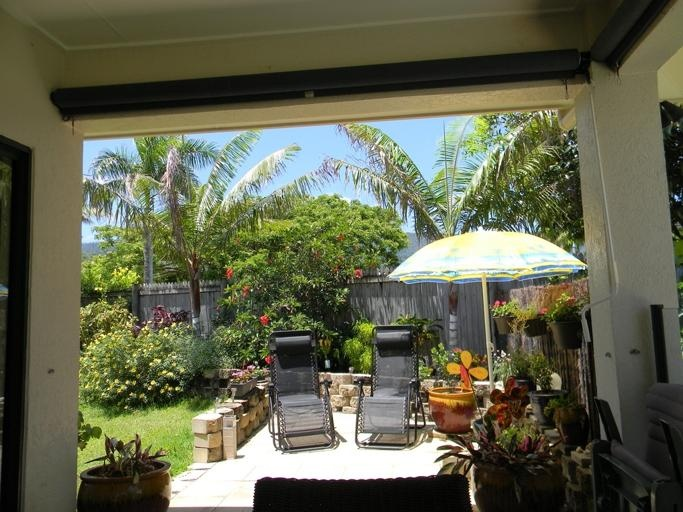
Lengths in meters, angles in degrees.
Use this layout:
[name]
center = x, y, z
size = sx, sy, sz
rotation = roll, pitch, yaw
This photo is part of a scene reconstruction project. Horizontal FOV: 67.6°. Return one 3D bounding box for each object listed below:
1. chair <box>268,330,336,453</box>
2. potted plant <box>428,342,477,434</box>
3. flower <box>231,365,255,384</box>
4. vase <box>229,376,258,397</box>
[chair]
center = -0.549, 1.746, 6.906
size = 0.849, 1.468, 1.133
rotation = -2, -7, -10
[potted plant]
center = 1.498, 1.804, 6.849
size = 0.588, 1.049, 0.583
rotation = 2, -11, 1
[flower]
center = -1.602, 1.940, 8.364
size = 0.394, 0.144, 0.393
rotation = -2, -1, 25
[vase]
center = -1.342, 1.848, 7.103
size = 0.180, 0.210, 0.742
rotation = -4, -7, 10
